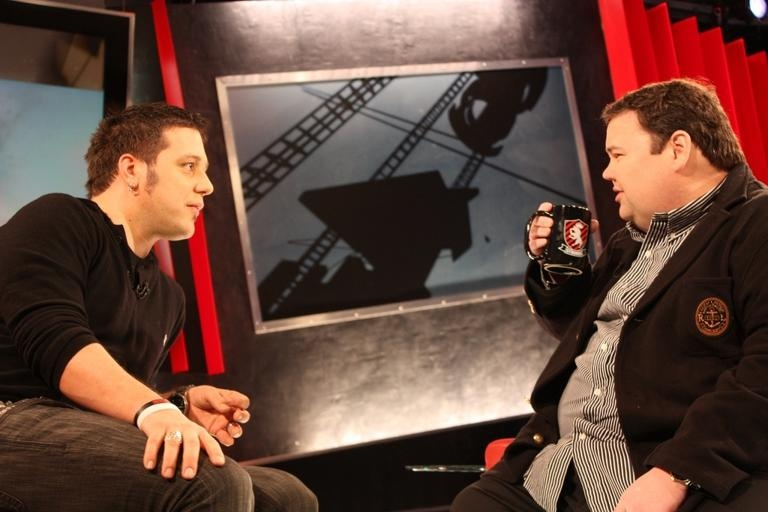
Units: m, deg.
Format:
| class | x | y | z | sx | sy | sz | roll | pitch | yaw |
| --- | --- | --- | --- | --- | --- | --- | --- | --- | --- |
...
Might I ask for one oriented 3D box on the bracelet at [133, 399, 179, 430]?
| class | x | y | z | sx | sy | sz | roll | pitch | yaw |
| --- | --- | --- | --- | --- | --- | --- | --- | --- | --- |
| bracelet | -0.651 | 0.435 | 1.751 | 0.088 | 0.086 | 0.022 | -16 | 68 | -47 |
